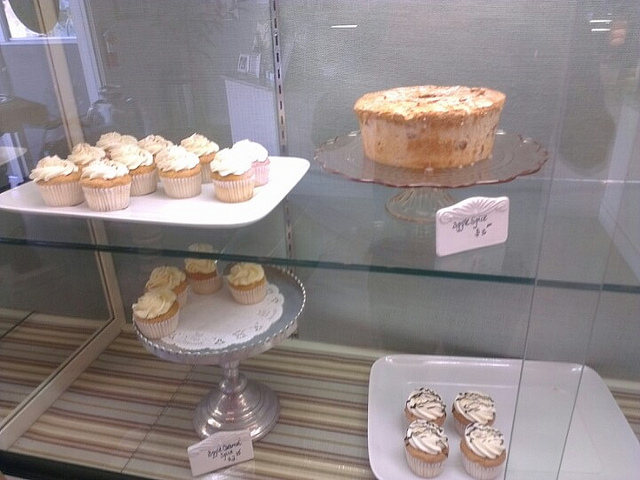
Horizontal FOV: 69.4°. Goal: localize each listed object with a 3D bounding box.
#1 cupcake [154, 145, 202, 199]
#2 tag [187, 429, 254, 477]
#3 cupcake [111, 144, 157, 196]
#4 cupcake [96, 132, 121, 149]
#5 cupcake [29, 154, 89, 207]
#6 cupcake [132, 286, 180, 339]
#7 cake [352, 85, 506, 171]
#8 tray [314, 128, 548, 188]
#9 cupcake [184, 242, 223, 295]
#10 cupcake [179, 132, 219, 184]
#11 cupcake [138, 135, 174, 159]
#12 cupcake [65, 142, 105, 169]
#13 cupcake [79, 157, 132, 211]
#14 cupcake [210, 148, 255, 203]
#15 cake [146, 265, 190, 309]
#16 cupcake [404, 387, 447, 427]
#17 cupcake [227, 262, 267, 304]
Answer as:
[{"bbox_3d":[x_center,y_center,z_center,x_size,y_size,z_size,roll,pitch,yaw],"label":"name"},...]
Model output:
[{"bbox_3d":[-0.294,-0.142,1.006,0.083,0.109,0.086,14,27,30],"label":"cupcake"},{"bbox_3d":[-0.225,0.512,1.167,0.140,0.112,0.155,3,23,11],"label":"tag"},{"bbox_3d":[-0.381,-0.153,0.996,0.098,0.097,0.110,-2,14,-8],"label":"cupcake"},{"bbox_3d":[-0.526,-0.248,1.141,0.052,0.024,0.056,-14,15,-10],"label":"cupcake"},{"bbox_3d":[-0.549,-0.119,1.019,0.107,0.108,0.107,19,28,29],"label":"cupcake"},{"bbox_3d":[-0.382,0.173,1.106,0.112,0.097,0.085,-26,39,-34],"label":"cupcake"},{"bbox_3d":[0.193,-0.327,1.090,0.413,0.166,0.458,9,29,20],"label":"cake"},{"bbox_3d":[0.239,-0.252,0.967,0.414,0.160,0.335,12,25,28],"label":"tray"},{"bbox_3d":[-0.273,0.067,1.073,0.059,0.108,0.061,13,31,22],"label":"cupcake"},{"bbox_3d":[-0.246,-0.188,1.073,0.101,0.136,0.109,-10,15,-11],"label":"cupcake"},{"bbox_3d":[-0.385,-0.203,1.084,0.082,0.050,0.086,0,11,-3],"label":"cupcake"},{"bbox_3d":[-0.528,-0.191,1.041,0.080,0.043,0.081,-3,15,-4],"label":"cupcake"},{"bbox_3d":[-0.441,-0.111,0.953,0.098,0.081,0.073,3,32,7],"label":"cupcake"},{"bbox_3d":[-0.177,-0.130,0.949,0.087,0.081,0.114,-6,32,-8],"label":"cupcake"},{"bbox_3d":[-0.377,0.125,1.173,0.094,0.096,0.105,-12,16,-6],"label":"cake"},{"bbox_3d":[0.256,0.409,1.123,0.107,0.076,0.097,-6,20,-11],"label":"cupcake"},{"bbox_3d":[-0.181,0.104,1.162,0.098,0.112,0.068,-9,32,-12],"label":"cupcake"}]
